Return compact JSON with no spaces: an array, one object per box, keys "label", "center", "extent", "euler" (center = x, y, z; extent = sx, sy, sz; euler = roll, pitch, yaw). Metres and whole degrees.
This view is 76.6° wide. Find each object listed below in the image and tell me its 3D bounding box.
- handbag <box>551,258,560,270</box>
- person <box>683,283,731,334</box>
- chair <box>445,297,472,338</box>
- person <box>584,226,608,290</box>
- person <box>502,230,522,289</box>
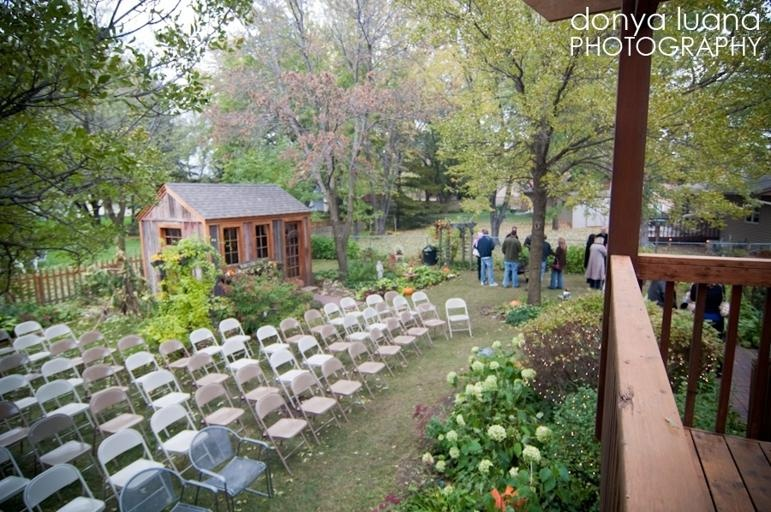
[{"label":"handbag","center":[5.622,0.255,15.969],"extent":[0.133,0.334,0.339],"euler":[-5,11,-3]},{"label":"person","center":[5.906,1.003,8.931],"extent":[0.652,0.945,0.899],"euler":[0,5,37]},{"label":"chair","center":[1.984,1.579,13.128],"extent":[0.760,1.273,0.952],"euler":[-3,2,-6]},{"label":"person","center":[6.829,0.199,15.656],"extent":[0.594,1.789,1.410],"euler":[-1,5,23]},{"label":"person","center":[4.399,0.097,16.839],"extent":[0.599,1.965,1.560],"euler":[-2,4,14]}]
